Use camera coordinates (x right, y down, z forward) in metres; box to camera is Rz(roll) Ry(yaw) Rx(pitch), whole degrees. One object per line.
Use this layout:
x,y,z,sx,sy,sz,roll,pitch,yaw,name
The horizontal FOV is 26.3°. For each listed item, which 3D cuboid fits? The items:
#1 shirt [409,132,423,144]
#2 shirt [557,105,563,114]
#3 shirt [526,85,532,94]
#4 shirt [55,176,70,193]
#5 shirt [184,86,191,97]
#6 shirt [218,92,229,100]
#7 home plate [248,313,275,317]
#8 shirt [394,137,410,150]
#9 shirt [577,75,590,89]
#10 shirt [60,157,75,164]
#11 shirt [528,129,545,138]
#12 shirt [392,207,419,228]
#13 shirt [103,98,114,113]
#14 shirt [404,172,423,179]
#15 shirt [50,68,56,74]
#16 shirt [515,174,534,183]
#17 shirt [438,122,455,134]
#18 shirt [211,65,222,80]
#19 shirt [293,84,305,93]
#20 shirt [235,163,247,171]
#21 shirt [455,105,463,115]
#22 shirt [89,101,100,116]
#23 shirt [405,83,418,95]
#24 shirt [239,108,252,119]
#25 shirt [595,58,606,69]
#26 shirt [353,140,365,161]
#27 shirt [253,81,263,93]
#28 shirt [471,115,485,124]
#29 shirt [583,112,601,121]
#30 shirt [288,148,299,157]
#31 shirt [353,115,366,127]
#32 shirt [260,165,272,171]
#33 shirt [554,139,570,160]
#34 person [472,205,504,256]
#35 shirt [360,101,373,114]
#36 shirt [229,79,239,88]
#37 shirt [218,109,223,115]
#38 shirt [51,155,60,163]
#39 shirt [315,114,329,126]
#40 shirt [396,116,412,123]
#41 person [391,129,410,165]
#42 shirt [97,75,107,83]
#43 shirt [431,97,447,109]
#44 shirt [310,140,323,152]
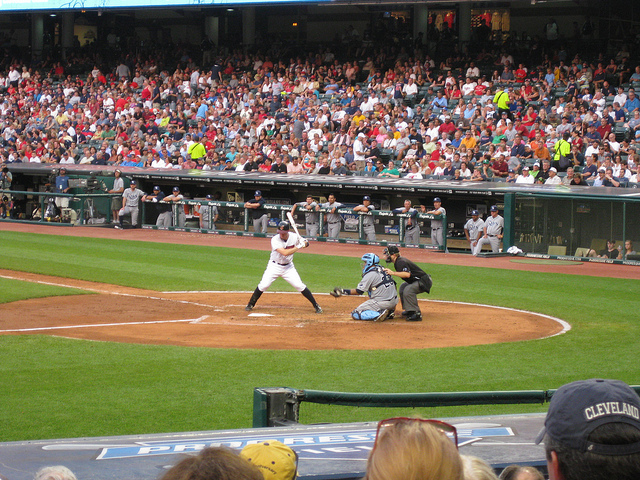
3.533,-3.767,49.950,0.629,0.469,0.315,0,-3,9,shirt
8.674,-4.734,49.160,0.179,0.251,0.317,2,1,8,shirt
7.828,-5.654,50.939,0.222,0.375,0.609,2,1,9,shirt
-10.098,-2.206,53.296,0.730,0.778,0.450,1,-1,5,shirt
-5.877,-6.644,60.215,0.279,0.398,0.569,2,1,-7,shirt
-4.108,-6.256,58.559,0.455,0.241,0.332,2,1,15,shirt
-1.666,2.044,37.924,0.592,0.078,0.488,3,1,31,home plate
3.104,-3.584,50.511,0.725,0.527,0.392,-2,-15,32,shirt
9.755,-5.860,50.360,0.243,0.516,0.420,23,-31,-40,shirt
-10.640,-3.378,57.214,0.452,0.384,0.249,0,-5,20,shirt
7.702,-3.712,48.349,0.517,0.362,0.269,0,-24,19,shirt
3.033,-0.831,47.946,0.956,0.655,0.445,3,2,37,shirt
-9.546,-6.074,61.223,0.482,0.574,0.221,-2,-10,23,shirt
3.373,-2.350,48.789,0.672,0.213,0.265,2,1,23,shirt
-13.245,-8.359,67.184,0.211,0.316,0.434,2,1,-13,shirt
7.083,-2.166,47.016,0.664,0.271,0.366,3,2,28,shirt
4.672,-4.180,50.216,0.580,0.401,0.306,-1,-14,31,shirt
-4.663,-7.484,60.603,0.372,0.754,1.087,2,1,-4,shirt
-0.877,-6.282,56.890,0.549,0.382,0.293,0,-9,19,shirt
-3.092,-2.885,52.957,0.509,0.277,0.395,2,1,16,shirt
5.274,-4.957,51.619,0.383,0.481,0.548,4,10,4,shirt
-10.185,-5.954,61.375,0.405,0.579,0.601,1,2,-24,shirt
3.620,-5.928,53.812,0.608,0.437,0.332,1,-9,27,shirt
-3.099,-5.282,56.334,0.417,0.380,0.160,-1,-28,27,shirt
10.877,-6.860,52.777,0.472,0.316,0.443,3,11,9,shirt
1.447,-3.367,50.659,0.391,0.780,0.621,2,2,-4,shirt
-2.681,-6.584,58.398,0.400,0.545,0.695,2,1,-5,shirt
5.849,-4.460,50.201,0.334,0.261,0.245,14,-1,3,shirt
9.499,-4.318,47.787,0.319,0.353,0.406,4,44,27,shirt
-1.034,-3.400,52.321,0.312,0.250,0.229,14,-1,12,shirt
1.523,-4.602,52.408,0.416,0.381,0.235,28,1,39,shirt
-2.066,-2.803,52.227,0.246,0.223,0.484,1,2,-44,shirt
8.358,-3.132,46.940,0.464,0.764,0.708,0,6,-39,shirt
5.794,-0.344,46.528,0.998,1.700,0.757,3,2,15,person
1.830,-5.209,53.344,0.624,0.484,0.236,1,-18,16,shirt
-3.762,-6.844,59.250,0.416,0.358,0.454,2,1,-2,shirt
-4.249,-5.430,57.620,0.156,0.205,0.341,2,1,-6,shirt
-11.279,-3.488,58.016,0.360,0.321,0.190,21,-23,19,shirt
0.103,-4.748,53.401,0.651,0.418,0.367,2,-4,25,shirt
3.322,-4.585,51.772,0.339,0.221,0.464,2,1,0,shirt
2.960,-3.468,50.481,0.430,1.285,0.799,2,2,-23,person
-10.291,-7.610,64.113,0.590,0.503,0.302,1,4,-5,shirt
4.608,-5.280,52.530,0.584,0.439,0.533,2,1,5,shirt
-0.166,-3.644,52.354,0.450,0.468,0.438,2,2,1,shirt
